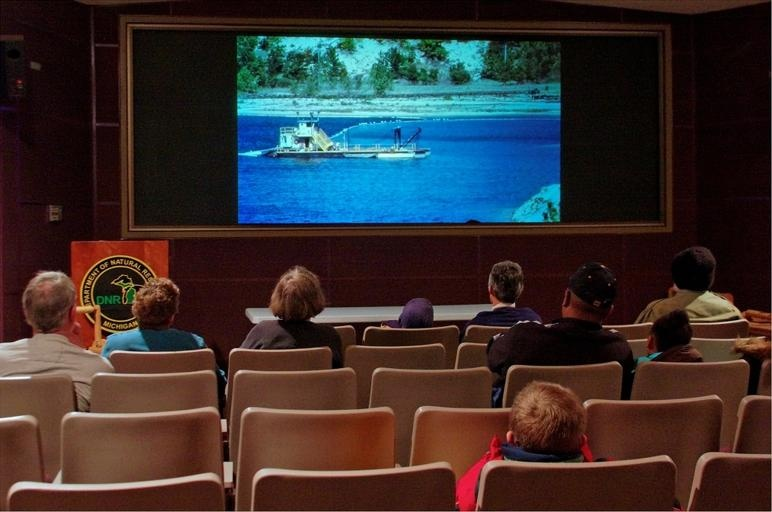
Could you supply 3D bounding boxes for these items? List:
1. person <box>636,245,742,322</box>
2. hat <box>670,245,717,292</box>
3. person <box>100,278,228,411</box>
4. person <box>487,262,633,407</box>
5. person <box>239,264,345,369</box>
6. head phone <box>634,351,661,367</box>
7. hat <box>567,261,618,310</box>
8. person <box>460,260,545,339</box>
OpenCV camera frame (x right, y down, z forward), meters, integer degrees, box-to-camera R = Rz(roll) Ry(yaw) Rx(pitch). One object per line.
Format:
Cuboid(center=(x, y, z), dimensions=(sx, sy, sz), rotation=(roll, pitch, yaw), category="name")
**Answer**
Cuboid(center=(2.515, 0.285, 6.187), dimensions=(0.918, 0.657, 0.432), rotation=(1, 13, 4), category="person")
Cuboid(center=(2.529, 0.101, 6.158), dimensions=(0.321, 0.361, 0.396), rotation=(1, 10, 16), category="hat")
Cuboid(center=(-1.662, 0.836, 5.406), dimensions=(0.991, 1.254, 0.593), rotation=(0, 4, -8), category="person")
Cuboid(center=(1.216, 0.546, 5.333), dimensions=(0.803, 1.066, 0.638), rotation=(5, 15, 1), category="person")
Cuboid(center=(-0.840, 0.502, 6.134), dimensions=(0.894, 0.789, 0.425), rotation=(0, 16, -8), category="person")
Cuboid(center=(1.771, 0.693, 4.973), dimensions=(0.098, 0.112, 0.127), rotation=(1, -33, -11), category="head phone")
Cuboid(center=(1.396, 0.202, 4.989), dimensions=(0.267, 0.204, 0.343), rotation=(13, 20, 6), category="hat")
Cuboid(center=(1.003, 0.381, 6.118), dimensions=(0.747, 0.632, 0.395), rotation=(3, -4, -10), category="person")
